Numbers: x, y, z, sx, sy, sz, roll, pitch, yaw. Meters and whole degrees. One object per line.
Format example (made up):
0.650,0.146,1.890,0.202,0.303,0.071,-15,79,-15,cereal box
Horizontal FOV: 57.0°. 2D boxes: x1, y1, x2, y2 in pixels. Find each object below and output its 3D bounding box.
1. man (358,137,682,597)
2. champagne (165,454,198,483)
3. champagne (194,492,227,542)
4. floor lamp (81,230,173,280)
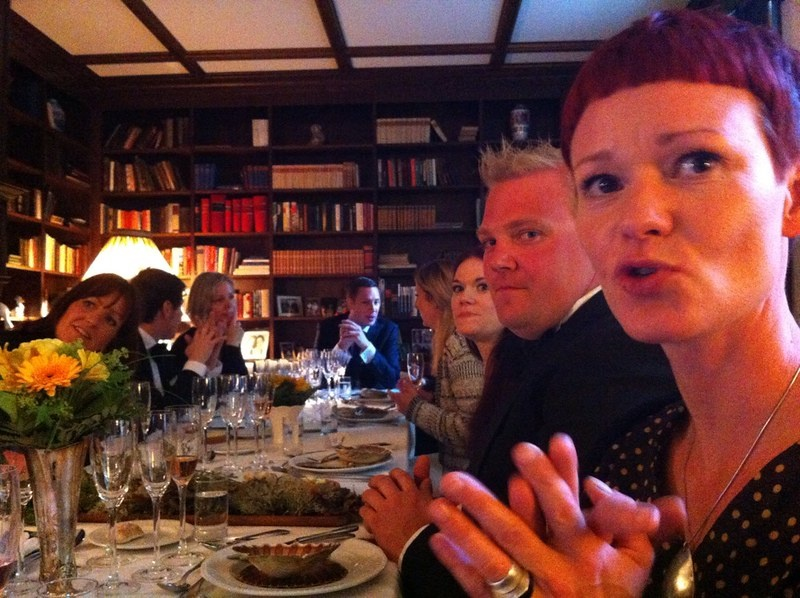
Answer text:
0.241,0.175,1.727,0.745,1.339,0.658,3,-7,-5,man
-0.415,0.325,1.424,0.057,0.061,0.054,0,-13,0,champagne
-0.383,0.433,1.499,0.069,0.104,0.070,-4,-6,32,champagne
-1.294,-0.210,3.526,0.331,0.178,0.330,0,1,17,floor lamp
